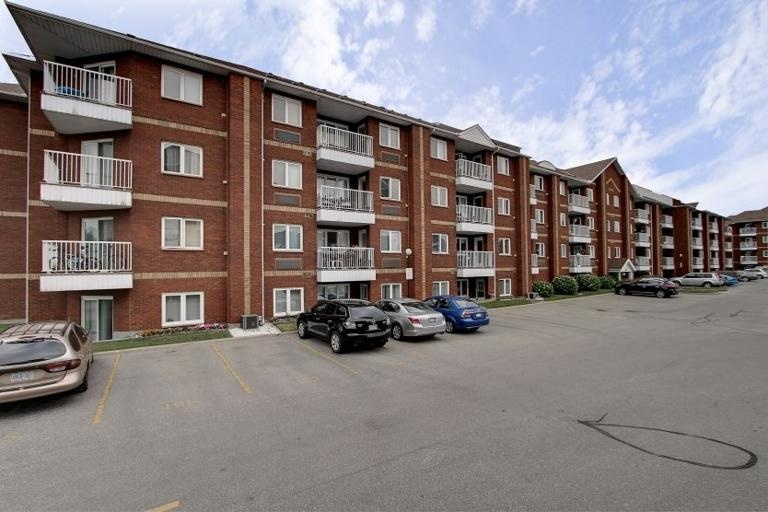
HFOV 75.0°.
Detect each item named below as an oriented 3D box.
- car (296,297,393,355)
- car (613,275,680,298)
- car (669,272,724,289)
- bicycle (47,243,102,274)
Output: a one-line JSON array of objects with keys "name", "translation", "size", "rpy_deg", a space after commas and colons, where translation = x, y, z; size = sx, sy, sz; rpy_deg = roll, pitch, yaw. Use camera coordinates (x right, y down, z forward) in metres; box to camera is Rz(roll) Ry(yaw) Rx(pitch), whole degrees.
[{"name": "car", "translation": [-2.266, 3.047, 21.641], "size": [4.738, 2.223, 1.783], "rpy_deg": [-10, -8, 33]}, {"name": "car", "translation": [20.415, 2.481, 39.006], "size": [3.988, 1.339, 1.848], "rpy_deg": [3, 1, 40]}, {"name": "car", "translation": [29.201, 2.301, 46.521], "size": [1.277, 0.965, 2.768], "rpy_deg": [0, 3, -43]}, {"name": "bicycle", "translation": [-13.860, 0.154, 22.339], "size": [1.568, 1.056, 0.121], "rpy_deg": [4, -33, -32]}]
